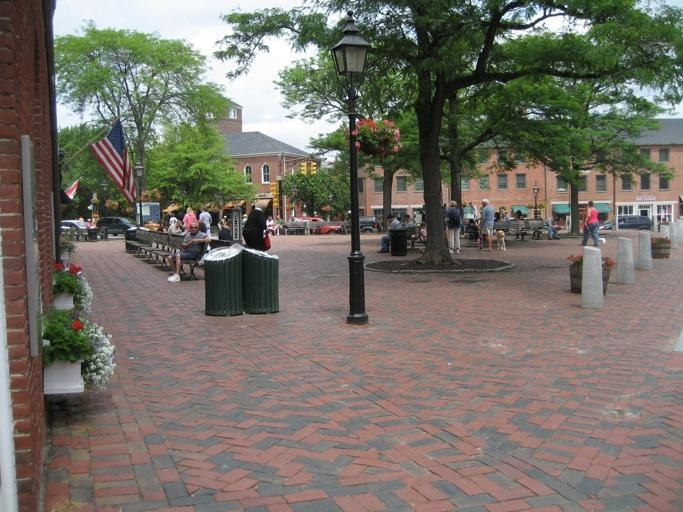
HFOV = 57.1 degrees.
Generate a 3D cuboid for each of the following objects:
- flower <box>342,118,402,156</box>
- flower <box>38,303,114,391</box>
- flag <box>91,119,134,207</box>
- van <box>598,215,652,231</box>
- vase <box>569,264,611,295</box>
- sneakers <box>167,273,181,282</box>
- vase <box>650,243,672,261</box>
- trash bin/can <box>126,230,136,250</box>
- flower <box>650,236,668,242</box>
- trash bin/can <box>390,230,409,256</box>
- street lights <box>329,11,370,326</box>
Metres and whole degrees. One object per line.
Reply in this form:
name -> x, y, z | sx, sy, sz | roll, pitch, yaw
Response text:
flower -> 0.743, -2.581, 13.734 | 1.347, 0.880, 1.257 | -2, 5, -13
flower -> -2.405, 0.857, 5.778 | 0.698, 0.568, 0.813 | 0, 6, -9
flag -> -6.617, -2.820, 18.359 | 0.955, 2.428, 3.056 | -2, 6, -18
van -> 24.500, -2.927, 54.020 | 3.574, 1.097, 5.516 | 2, 6, 21
vase -> 4.726, 0.398, 11.887 | 0.763, 0.587, 0.716 | 0, 5, 11
sneakers -> -3.939, 0.514, 14.888 | 0.141, 0.149, 0.366 | 18, 7, 30
vase -> 9.809, -0.143, 19.384 | 0.490, 0.305, 0.530 | 3, -6, -37
trash bin/can -> -9.526, -0.728, 28.447 | 0.393, 0.622, 0.998 | -1, 2, -28
flower -> 10.462, -0.577, 20.759 | 0.533, 0.259, 0.533 | 0, 3, -13
trash bin/can -> 1.963, -0.470, 21.751 | 0.826, 0.857, 0.817 | -1, 4, 5
street lights -> 0.187, -1.335, 9.527 | 0.534, 4.629, 0.756 | -2, 6, -11
